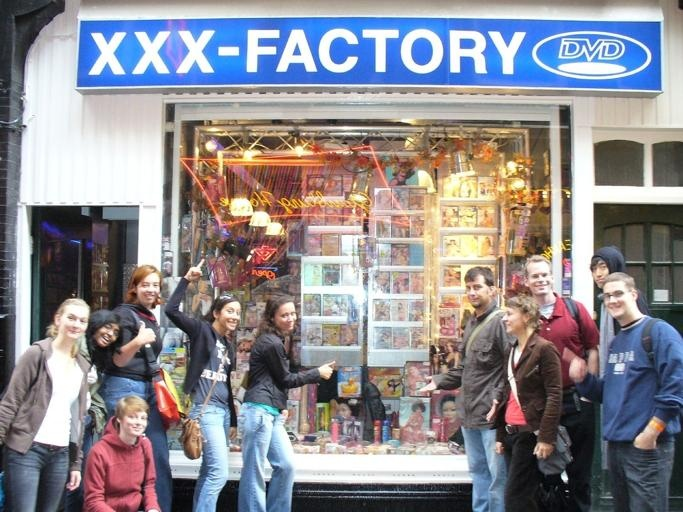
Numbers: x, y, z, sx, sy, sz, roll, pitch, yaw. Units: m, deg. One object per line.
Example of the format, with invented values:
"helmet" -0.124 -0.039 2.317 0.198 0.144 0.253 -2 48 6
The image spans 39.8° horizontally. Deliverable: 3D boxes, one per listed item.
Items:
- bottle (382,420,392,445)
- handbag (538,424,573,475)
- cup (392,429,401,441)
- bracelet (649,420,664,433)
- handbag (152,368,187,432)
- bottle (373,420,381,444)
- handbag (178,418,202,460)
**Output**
"bottle" 0.454 1.768 9.596 0.102 0.224 0.089 0 -3 2
"handbag" 1.802 1.625 7.937 0.286 0.400 0.179 1 -3 -12
"cup" 0.550 1.797 9.606 0.075 0.108 0.048 0 -3 1
"bracelet" 2.524 1.351 7.554 0.093 0.092 0.034 -28 -12 22
"handbag" -1.572 1.258 8.449 0.266 0.534 0.254 1 -3 -11
"bottle" 0.365 1.771 9.599 0.076 0.217 0.091 0 -3 1
"handbag" -1.340 1.599 8.348 0.177 0.327 0.152 1 -3 -16
